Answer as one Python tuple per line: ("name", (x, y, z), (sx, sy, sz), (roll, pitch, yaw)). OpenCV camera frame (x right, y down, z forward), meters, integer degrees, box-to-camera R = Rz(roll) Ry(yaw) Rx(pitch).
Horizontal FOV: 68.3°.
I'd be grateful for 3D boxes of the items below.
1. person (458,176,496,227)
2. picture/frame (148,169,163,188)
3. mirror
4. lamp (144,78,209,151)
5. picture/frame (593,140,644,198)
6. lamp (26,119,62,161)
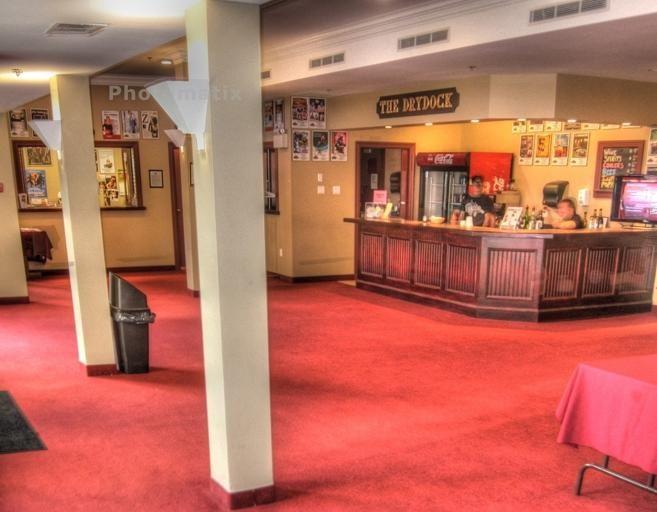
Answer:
("person", (2.635, -0.981, 8.605), (0.524, 0.848, 0.821), (-1, 10, -2))
("picture/frame", (-3.837, -1.732, 10.724), (0.415, 0.331, 0.054), (-3, 16, -9))
("mirror", (-4.512, -1.459, 8.554), (2.268, 1.204, 0.139), (-1, 5, -11))
("lamp", (-0.873, -0.810, 2.799), (0.409, 0.384, 0.167), (4, 11, 23))
("picture/frame", (4.927, -1.474, 8.176), (0.095, 1.172, 1.013), (-2, 10, -30))
("lamp", (-2.875, -1.187, 4.954), (0.266, 0.400, 0.242), (-7, 12, -32))
